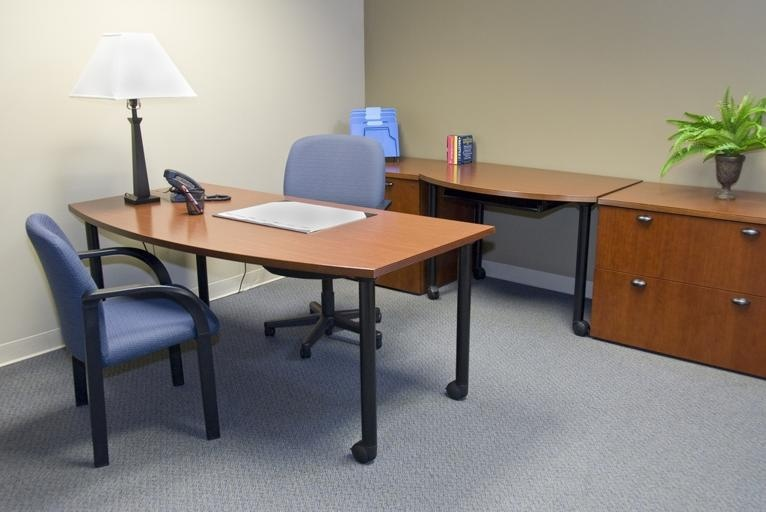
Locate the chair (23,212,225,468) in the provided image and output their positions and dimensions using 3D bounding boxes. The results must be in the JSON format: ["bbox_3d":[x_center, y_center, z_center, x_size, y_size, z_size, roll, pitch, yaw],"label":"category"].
[{"bbox_3d":[-1.251,0.364,2.756,0.764,1.045,0.809,19,20,40],"label":"chair"}]

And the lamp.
[{"bbox_3d":[-1.406,-0.774,3.147,0.528,0.942,0.370,9,20,26],"label":"lamp"}]

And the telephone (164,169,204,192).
[{"bbox_3d":[-1.102,-0.412,3.055,0.221,0.064,0.152,16,19,22],"label":"telephone"}]

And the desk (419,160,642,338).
[{"bbox_3d":[1.049,-0.084,3.975,1.037,0.897,1.411,-12,17,-32],"label":"desk"}]
